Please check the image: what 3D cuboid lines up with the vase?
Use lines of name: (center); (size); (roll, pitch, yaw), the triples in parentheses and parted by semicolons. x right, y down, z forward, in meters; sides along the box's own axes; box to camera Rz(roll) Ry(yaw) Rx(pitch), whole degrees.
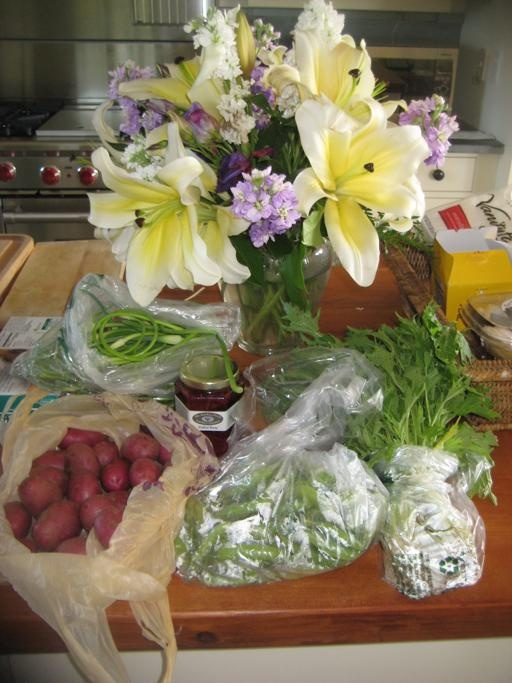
vase: (0.030, -0.058, 0.749); (0.151, 0.152, 0.113); (5, 26, 15)
